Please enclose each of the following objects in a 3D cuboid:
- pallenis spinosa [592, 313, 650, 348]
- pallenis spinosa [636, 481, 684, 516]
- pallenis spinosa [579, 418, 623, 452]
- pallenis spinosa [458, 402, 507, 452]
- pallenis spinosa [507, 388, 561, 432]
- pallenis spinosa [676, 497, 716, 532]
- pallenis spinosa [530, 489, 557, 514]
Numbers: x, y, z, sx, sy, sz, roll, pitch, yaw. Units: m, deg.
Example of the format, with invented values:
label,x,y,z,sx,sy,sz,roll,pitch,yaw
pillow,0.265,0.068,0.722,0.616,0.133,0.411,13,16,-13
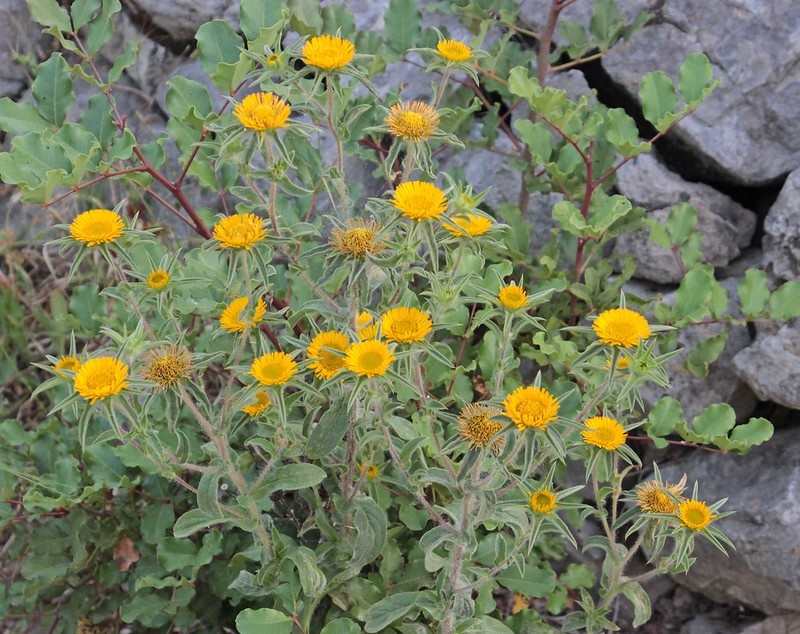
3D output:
label,x,y,z,sx,sy,sz,roll,pitch,yaw
pallenis spinosa,0.808,0.040,3.028,0.206,0.085,0.147,-10,82,-3
pallenis spinosa,1.031,0.724,3.370,0.171,0.258,0.129,9,81,0
pallenis spinosa,0.785,0.445,3.233,0.183,0.131,0.130,-2,82,-2
pallenis spinosa,0.285,0.378,3.004,0.145,0.212,0.165,30,82,3
pallenis spinosa,0.453,0.315,2.914,0.186,0.112,0.151,-1,82,-2
pallenis spinosa,1.149,0.768,3.255,0.170,0.083,0.116,18,82,1
pallenis spinosa,0.551,0.706,3.235,0.107,0.052,0.098,12,82,0
